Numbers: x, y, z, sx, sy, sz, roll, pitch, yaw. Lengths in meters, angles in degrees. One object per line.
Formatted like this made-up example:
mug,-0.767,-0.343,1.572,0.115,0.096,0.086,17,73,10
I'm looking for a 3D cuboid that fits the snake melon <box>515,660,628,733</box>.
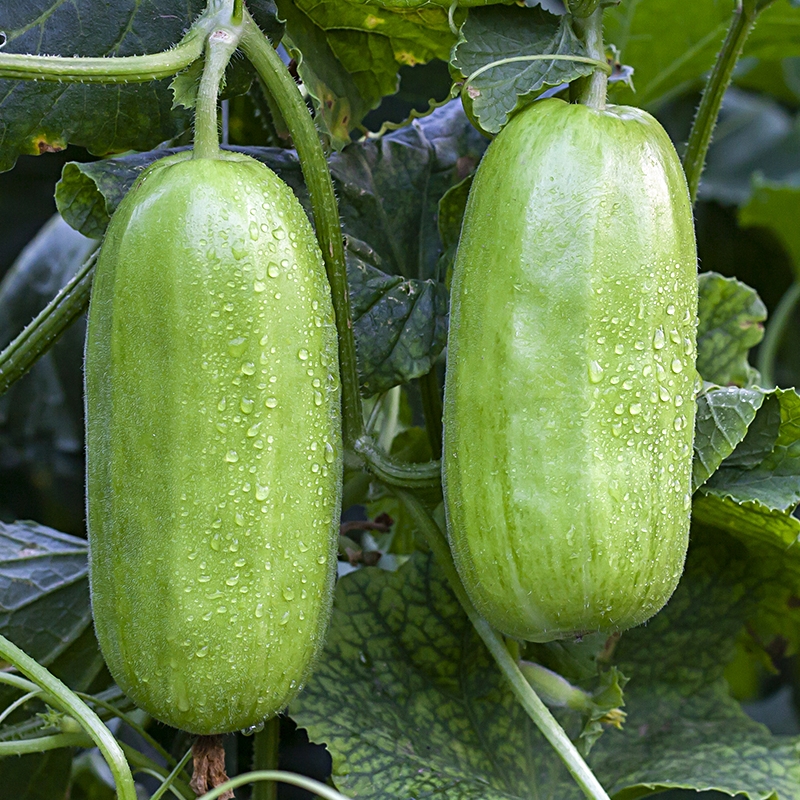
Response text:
snake melon,0.133,0.209,0.841,0.086,0.040,0.045,19,21,19
